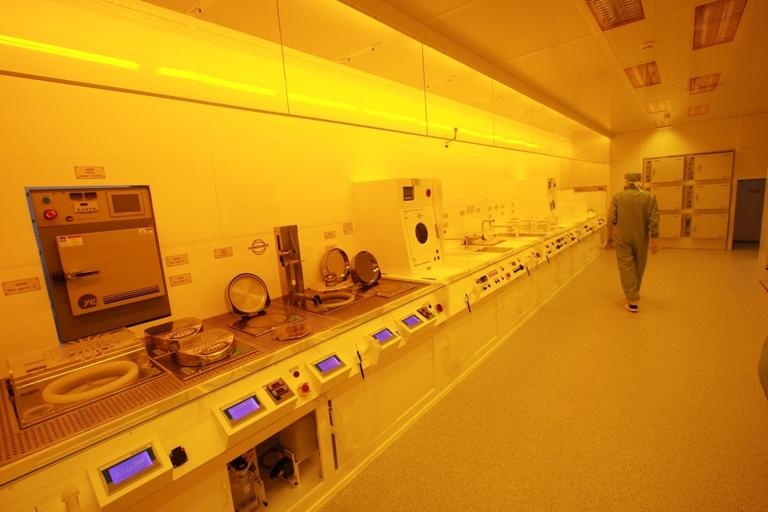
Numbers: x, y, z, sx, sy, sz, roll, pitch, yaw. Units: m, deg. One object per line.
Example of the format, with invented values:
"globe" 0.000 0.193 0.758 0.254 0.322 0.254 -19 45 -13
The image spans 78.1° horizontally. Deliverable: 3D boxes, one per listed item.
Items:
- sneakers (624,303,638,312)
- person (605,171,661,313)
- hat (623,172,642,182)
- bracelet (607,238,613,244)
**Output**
"sneakers" 2.750 0.576 5.230 0.071 0.053 0.139 -5 -4 -7
"person" 2.811 -0.078 5.272 0.442 1.304 0.531 -3 11 10
"hat" 2.910 -0.909 5.497 0.164 0.117 0.119 1 9 -25
"bracelet" 4.551 -0.294 9.493 0.111 0.029 0.100 -25 5 7
